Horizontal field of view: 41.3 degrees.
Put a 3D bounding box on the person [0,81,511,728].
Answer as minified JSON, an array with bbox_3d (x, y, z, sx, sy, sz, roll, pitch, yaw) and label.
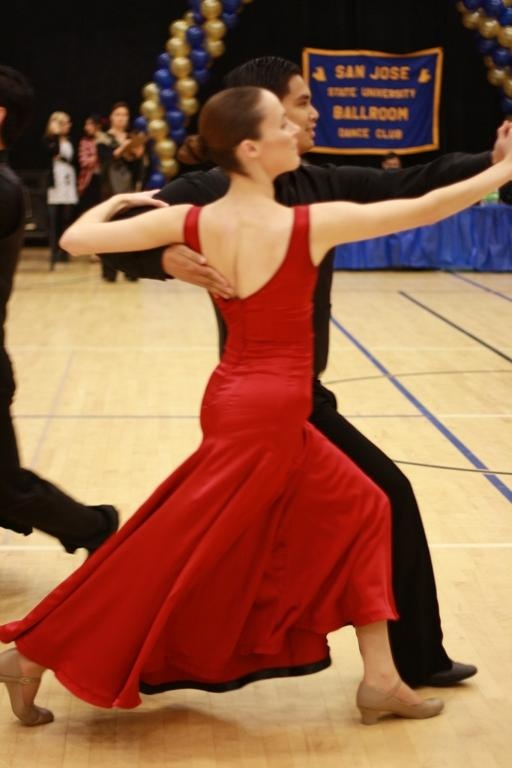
[{"bbox_3d":[-0.053,0.098,1.454,0.994,1.360,0.321,-2,8,-4],"label":"person"}]
